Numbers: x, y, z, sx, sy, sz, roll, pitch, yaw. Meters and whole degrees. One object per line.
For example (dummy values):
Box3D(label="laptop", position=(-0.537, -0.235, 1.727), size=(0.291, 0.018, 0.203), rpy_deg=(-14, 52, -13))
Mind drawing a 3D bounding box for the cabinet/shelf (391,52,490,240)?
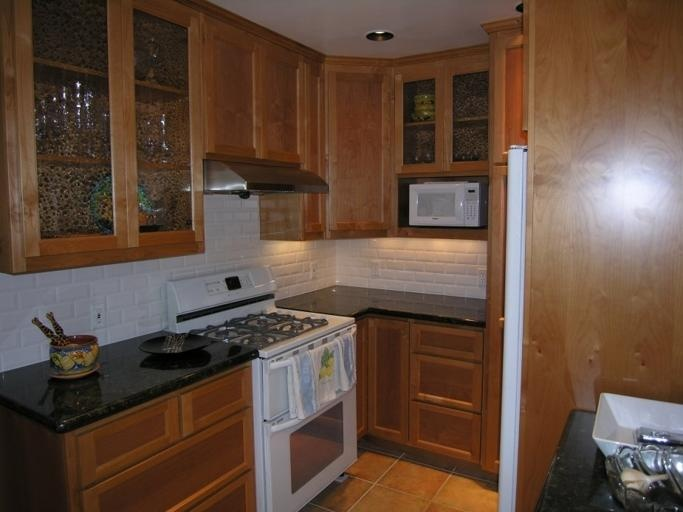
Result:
Box3D(label="cabinet/shelf", position=(0.757, -0.704, 3.786), size=(0.718, 1.219, 0.326), rpy_deg=(1, 11, 19))

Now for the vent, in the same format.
Box3D(label="vent", position=(-0.415, -0.475, 3.074), size=(0.383, 0.188, 0.739), rpy_deg=(9, 13, 34))

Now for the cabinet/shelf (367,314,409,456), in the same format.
Box3D(label="cabinet/shelf", position=(0.318, 0.846, 3.602), size=(0.347, 0.843, 0.087), rpy_deg=(8, 12, 30))

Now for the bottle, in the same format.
Box3D(label="bottle", position=(-1.193, -0.607, 2.315), size=(0.039, 0.336, 0.319), rpy_deg=(10, 14, 39))

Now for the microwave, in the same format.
Box3D(label="microwave", position=(0.732, -0.357, 3.629), size=(0.537, 0.346, 0.332), rpy_deg=(2, 5, 37))
